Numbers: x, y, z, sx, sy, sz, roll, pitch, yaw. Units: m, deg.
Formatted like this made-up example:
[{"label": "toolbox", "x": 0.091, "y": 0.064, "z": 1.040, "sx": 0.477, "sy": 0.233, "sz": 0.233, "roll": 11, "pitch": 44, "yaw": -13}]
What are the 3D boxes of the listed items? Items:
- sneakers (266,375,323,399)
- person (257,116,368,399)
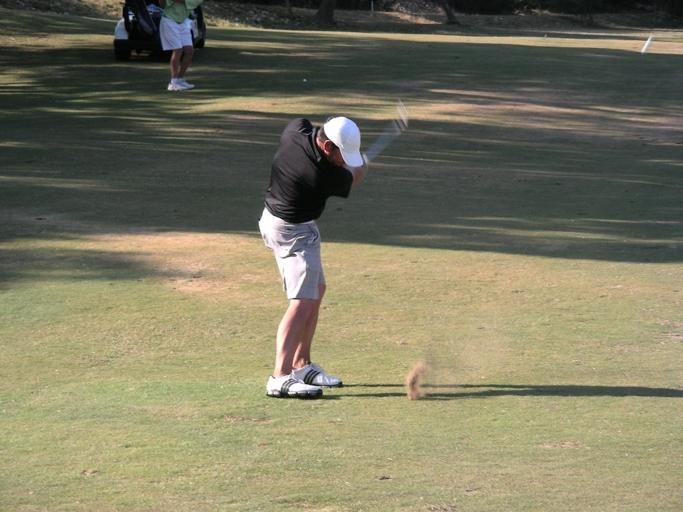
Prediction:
[{"label": "sneakers", "x": -0.340, "y": 0.942, "z": 9.135, "sx": 0.476, "sy": 0.119, "sz": 0.150, "roll": 1, "pitch": 8, "yaw": -7}, {"label": "person", "x": -0.224, "y": -0.021, "z": 9.264, "sx": 0.721, "sy": 2.046, "sz": 0.962, "roll": 7, "pitch": 18, "yaw": -8}]
